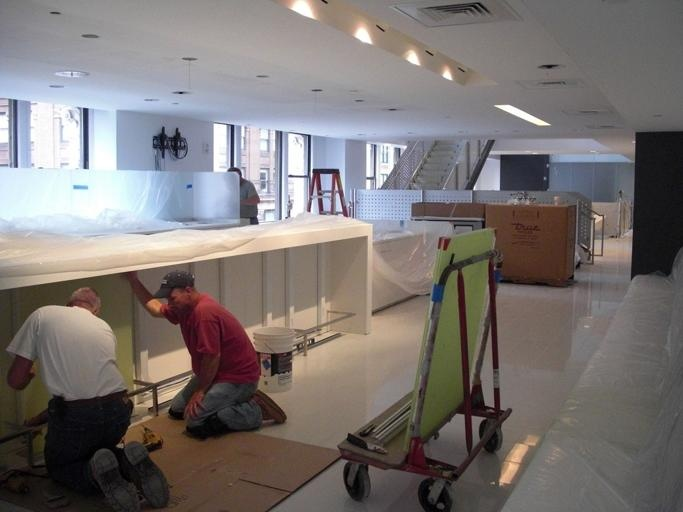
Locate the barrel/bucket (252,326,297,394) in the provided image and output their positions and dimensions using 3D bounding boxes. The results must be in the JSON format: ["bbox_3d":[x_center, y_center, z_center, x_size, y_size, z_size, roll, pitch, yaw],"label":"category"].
[{"bbox_3d":[-0.598,0.893,4.352,0.497,0.561,0.449,-3,3,-23],"label":"barrel/bucket"}]

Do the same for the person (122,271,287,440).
[{"bbox_3d":[-1.120,0.808,4.214,1.372,1.677,0.852,-1,-3,-24],"label":"person"}]

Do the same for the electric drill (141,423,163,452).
[{"bbox_3d":[-1.287,1.255,3.323,0.147,0.148,0.091,-4,12,45],"label":"electric drill"}]

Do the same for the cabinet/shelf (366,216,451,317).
[{"bbox_3d":[1.031,0.084,7.757,1.364,0.913,1.397,4,9,30],"label":"cabinet/shelf"}]

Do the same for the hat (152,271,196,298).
[{"bbox_3d":[-1.199,0.193,3.476,0.268,0.158,0.170,-10,8,-43],"label":"hat"}]
